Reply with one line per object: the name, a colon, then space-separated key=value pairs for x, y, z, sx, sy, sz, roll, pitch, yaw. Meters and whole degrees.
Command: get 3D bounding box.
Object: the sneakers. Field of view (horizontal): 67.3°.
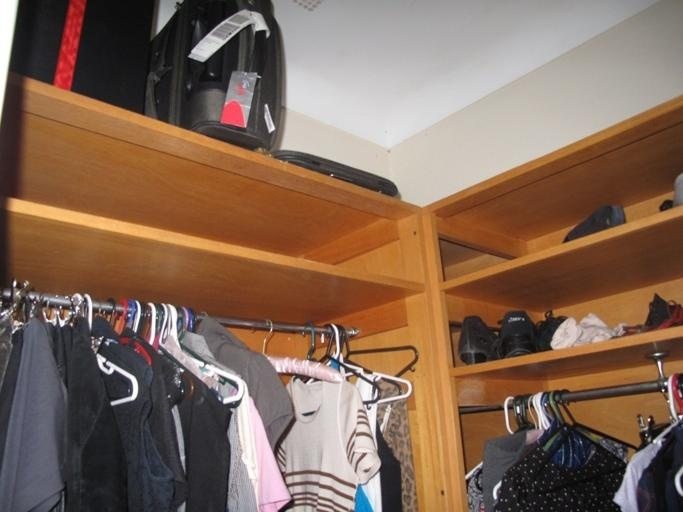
sneakers: x=0.526 y=0.277 z=1.696 sx=0.201 sy=0.104 sz=0.281 roll=-11 pitch=-15 yaw=25
